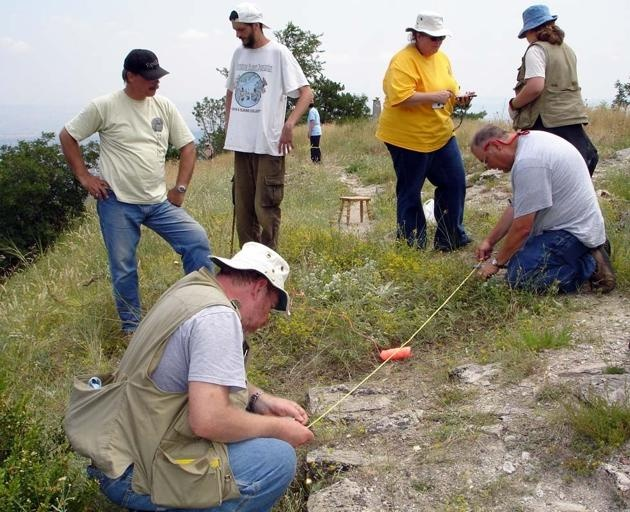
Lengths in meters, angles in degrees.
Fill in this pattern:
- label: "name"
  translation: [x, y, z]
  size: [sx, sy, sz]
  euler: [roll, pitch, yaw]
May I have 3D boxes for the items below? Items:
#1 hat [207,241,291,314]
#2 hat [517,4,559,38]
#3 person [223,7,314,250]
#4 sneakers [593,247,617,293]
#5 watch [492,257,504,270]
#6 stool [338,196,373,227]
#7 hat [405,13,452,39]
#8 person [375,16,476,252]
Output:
- label: "hat"
  translation: [-0.356, 0.125, 3.439]
  size: [0.406, 0.235, 0.368]
  euler: [37, -19, -12]
- label: "hat"
  translation: [2.241, -2.366, 5.851]
  size: [0.317, 0.268, 0.344]
  euler: [2, 11, 20]
- label: "person"
  translation: [-0.523, -1.233, 5.915]
  size: [0.964, 2.433, 0.584]
  euler: [1, 8, 13]
- label: "sneakers"
  translation: [2.645, 0.137, 5.381]
  size: [0.178, 0.538, 0.161]
  euler: [-9, 5, -4]
- label: "watch"
  translation: [1.708, 0.094, 5.395]
  size: [0.105, 0.065, 0.084]
  euler: [37, 10, -13]
- label: "stool"
  translation: [0.653, -0.769, 9.683]
  size: [0.558, 0.620, 0.558]
  euler: [-5, 6, -27]
- label: "hat"
  translation: [1.105, -2.287, 5.774]
  size: [0.380, 0.225, 0.672]
  euler: [0, 11, 10]
- label: "person"
  translation: [1.190, -1.242, 6.278]
  size: [1.008, 2.480, 0.710]
  euler: [-2, 8, -3]
